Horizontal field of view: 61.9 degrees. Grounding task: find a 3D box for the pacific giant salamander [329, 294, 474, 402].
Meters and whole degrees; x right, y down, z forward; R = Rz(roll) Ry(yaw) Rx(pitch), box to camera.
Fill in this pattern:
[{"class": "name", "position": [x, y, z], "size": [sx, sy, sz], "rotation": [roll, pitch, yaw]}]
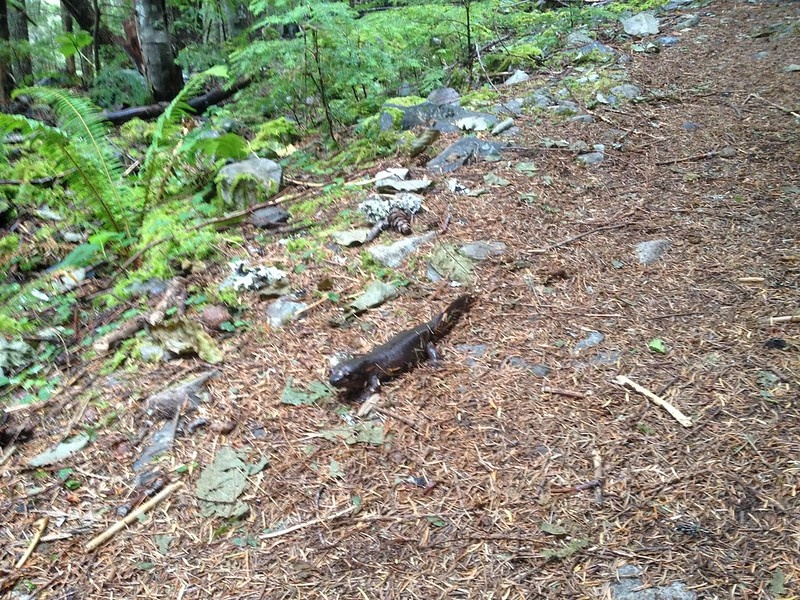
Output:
[{"class": "pacific giant salamander", "position": [0.107, 0.412, 6.482], "size": [1.863, 0.320, 0.748], "rotation": [-30, 40, -28]}]
